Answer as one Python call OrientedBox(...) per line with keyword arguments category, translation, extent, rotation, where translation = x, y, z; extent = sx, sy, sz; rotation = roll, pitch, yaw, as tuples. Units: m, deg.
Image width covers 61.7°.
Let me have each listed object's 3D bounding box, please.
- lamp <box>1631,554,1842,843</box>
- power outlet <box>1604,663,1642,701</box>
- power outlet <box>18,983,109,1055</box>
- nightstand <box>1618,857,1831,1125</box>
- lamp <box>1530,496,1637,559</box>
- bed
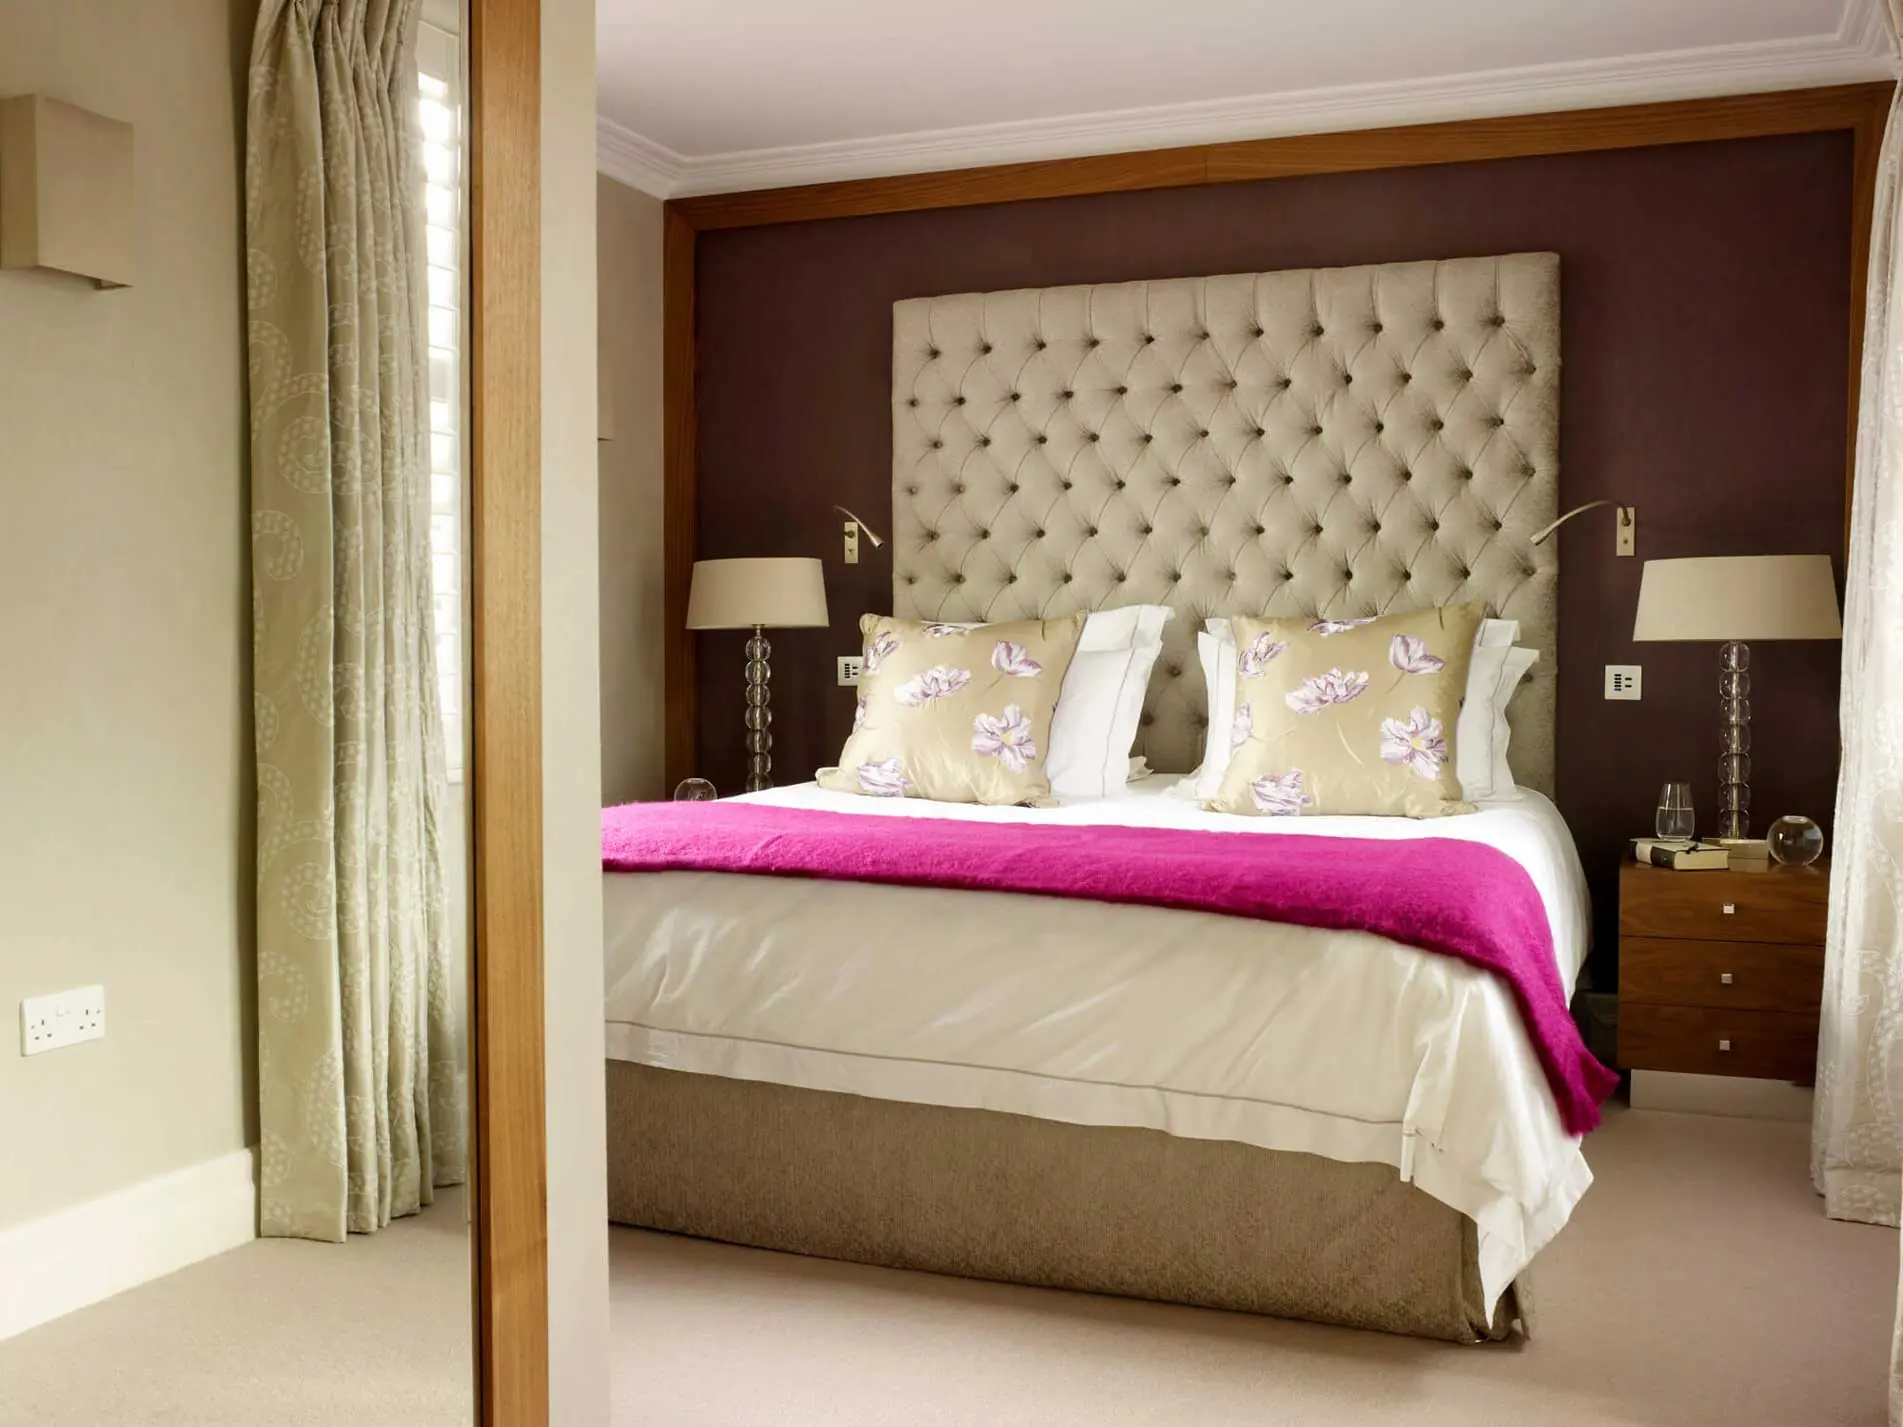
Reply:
OrientedBox(category="lamp", translation=(2.073, -0.052, 4.254), extent=(0.462, 0.736, 0.442), rotation=(2, 6, 20))
OrientedBox(category="power outlet", translation=(1.914, -0.090, 4.537), extent=(0.090, 0.098, 0.023), rotation=(3, 5, 41))
OrientedBox(category="power outlet", translation=(-0.879, 0.299, 1.570), extent=(0.010, 0.055, 0.074), rotation=(-3, -1, 37))
OrientedBox(category="nightstand", translation=(1.983, 0.671, 4.210), extent=(0.603, 0.910, 0.478), rotation=(0, -2, 22))
OrientedBox(category="lamp", translation=(1.818, -0.511, 4.547), extent=(0.207, 0.140, 0.182), rotation=(0, 3, -29))
OrientedBox(category="bed", translation=(0.194, 0.700, 2.979), extent=(1.083, 0.460, 1.147), rotation=(0, 1, 18))
